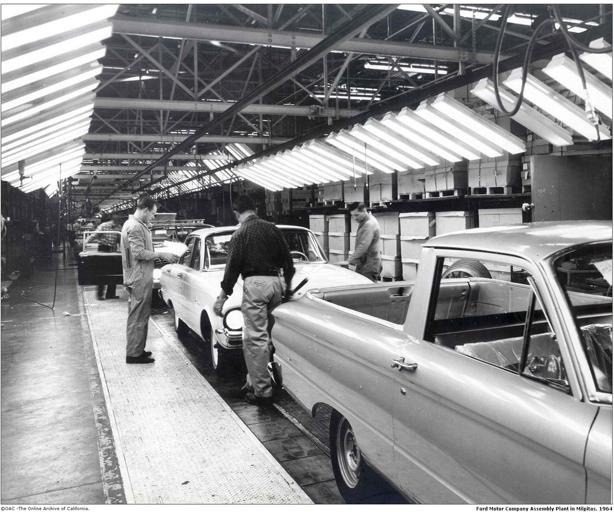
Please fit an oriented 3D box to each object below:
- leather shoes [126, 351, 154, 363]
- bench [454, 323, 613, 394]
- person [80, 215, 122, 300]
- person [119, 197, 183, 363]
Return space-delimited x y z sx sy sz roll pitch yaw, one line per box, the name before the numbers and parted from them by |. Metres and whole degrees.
leather shoes | -2.248 1.366 6.994 0.401 0.201 0.145 -2 1 -20
bench | 1.348 0.545 2.952 0.614 0.213 0.452 3 -6 -30
person | -5.055 0.170 12.517 1.242 1.156 2.262 -2 8 -26
person | -2.228 0.319 6.993 0.564 2.259 0.617 -2 5 -8
